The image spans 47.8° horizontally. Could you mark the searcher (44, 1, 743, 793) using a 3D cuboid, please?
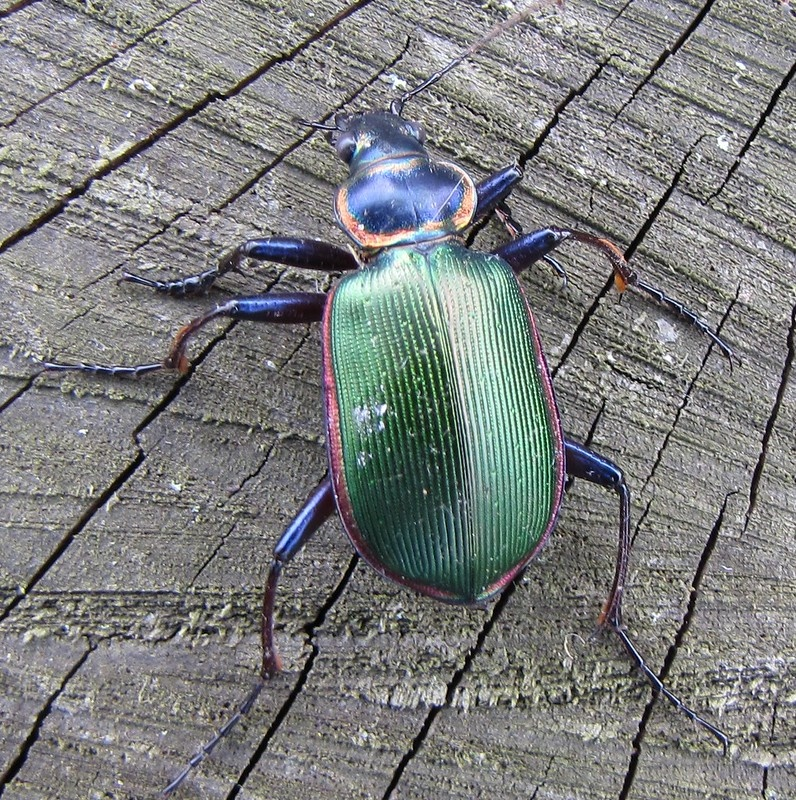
[{"bbox_3d":[0.079,-0.084,2.286,1.448,0.442,1.689,-12,70,-6],"label":"searcher"}]
